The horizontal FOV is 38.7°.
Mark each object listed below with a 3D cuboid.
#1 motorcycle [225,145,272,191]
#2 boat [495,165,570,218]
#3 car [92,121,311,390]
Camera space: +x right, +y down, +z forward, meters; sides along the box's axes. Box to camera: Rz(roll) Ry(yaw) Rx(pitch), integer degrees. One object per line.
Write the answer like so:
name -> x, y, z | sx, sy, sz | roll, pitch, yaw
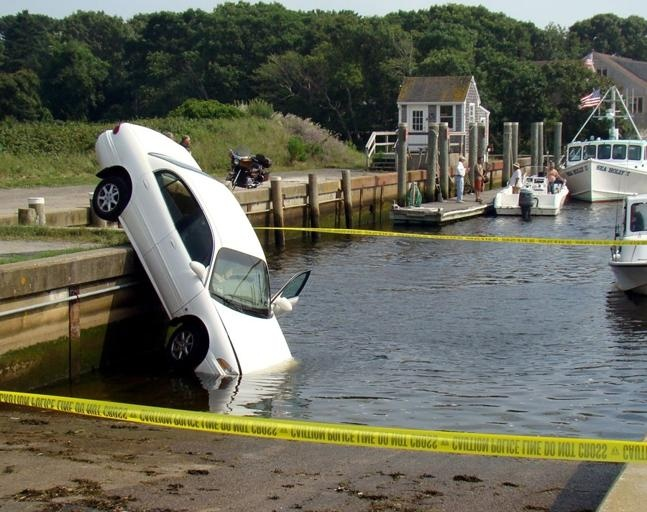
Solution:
motorcycle -> -1.745, -2.084, 22.150 | 0.699, 0.717, 1.299 | 42, 25, 25
boat -> 8.263, -2.319, 36.415 | 2.305, 1.364, 4.272 | 4, 9, 21
car -> -2.232, -0.241, 14.936 | 1.608, 4.987, 2.420 | -35, -19, 22
